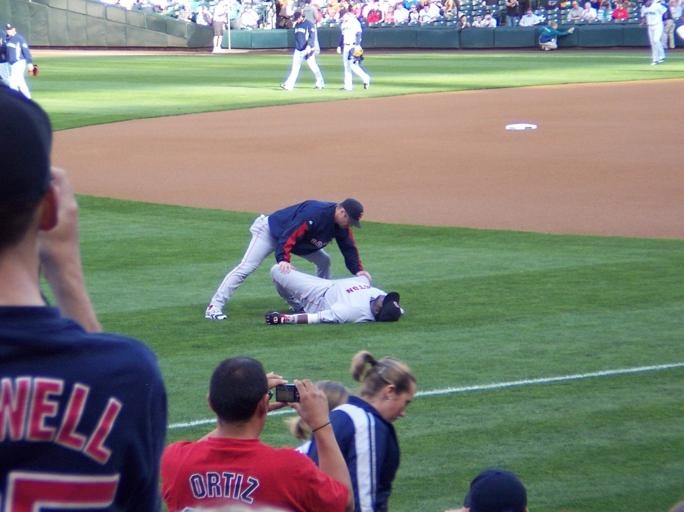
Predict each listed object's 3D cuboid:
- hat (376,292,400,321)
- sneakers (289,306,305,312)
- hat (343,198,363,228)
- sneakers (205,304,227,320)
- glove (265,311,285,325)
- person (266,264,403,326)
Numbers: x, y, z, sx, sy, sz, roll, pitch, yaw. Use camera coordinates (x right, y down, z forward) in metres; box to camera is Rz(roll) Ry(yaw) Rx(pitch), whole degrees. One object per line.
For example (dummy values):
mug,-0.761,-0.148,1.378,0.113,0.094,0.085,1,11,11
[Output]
hat,0.601,0.686,20.534,0.335,0.397,0.257,-1,7,-3
sneakers,-0.598,0.734,20.950,0.202,0.077,0.060,9,33,-3
hat,0.115,-0.540,20.822,0.263,0.373,0.256,-1,7,-1
sneakers,-1.627,0.779,20.647,0.330,0.135,0.152,1,4,35
glove,-0.883,0.837,20.580,0.297,0.150,0.179,1,6,13
person,-0.121,0.581,20.691,1.234,0.410,0.994,13,35,17
